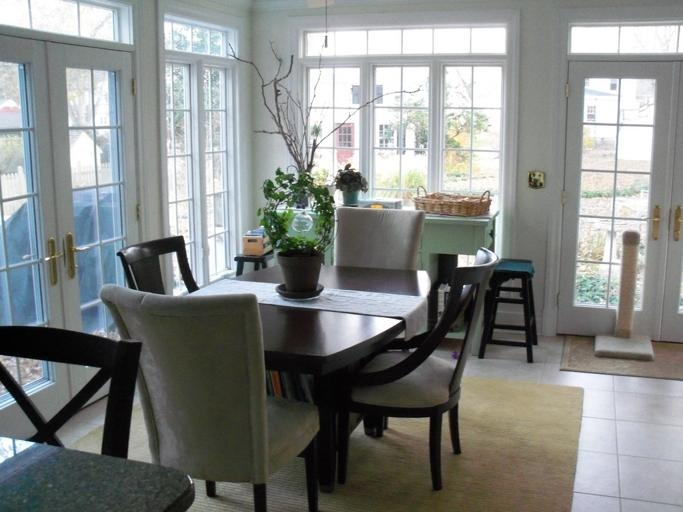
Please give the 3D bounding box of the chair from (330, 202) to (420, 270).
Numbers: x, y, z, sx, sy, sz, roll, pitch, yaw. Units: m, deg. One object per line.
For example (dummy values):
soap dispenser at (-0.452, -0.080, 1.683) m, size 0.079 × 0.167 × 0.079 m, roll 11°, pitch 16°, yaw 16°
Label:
chair at (0.297, -0.129, 3.973) m, size 0.437 × 0.637 × 0.516 m, roll 7°, pitch 5°, yaw 11°

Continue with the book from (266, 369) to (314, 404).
book at (-0.261, 0.650, 2.711) m, size 0.208 × 0.199 × 0.059 m, roll 2°, pitch 0°, yaw 19°

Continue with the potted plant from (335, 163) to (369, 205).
potted plant at (0.078, -0.631, 4.778) m, size 0.340 × 0.355 × 0.324 m, roll 4°, pitch 7°, yaw 39°

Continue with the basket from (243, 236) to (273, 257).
basket at (-0.773, -0.088, 4.967) m, size 0.183 × 0.164 × 0.267 m, roll 0°, pitch 1°, yaw 15°

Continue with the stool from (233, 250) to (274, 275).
stool at (-0.815, 0.010, 4.966) m, size 0.284 × 0.309 × 0.285 m, roll 0°, pitch 7°, yaw -1°

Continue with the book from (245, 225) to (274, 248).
book at (-0.747, -0.193, 4.764) m, size 0.299 × 0.138 × 0.415 m, roll 1°, pitch 4°, yaw 7°

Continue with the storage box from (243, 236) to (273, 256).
storage box at (-0.766, -0.087, 4.930) m, size 0.174 × 0.144 × 0.296 m, roll 0°, pitch 3°, yaw 8°

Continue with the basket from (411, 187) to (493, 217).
basket at (0.937, -0.451, 4.666) m, size 0.585 × 0.221 × 0.387 m, roll 4°, pitch 12°, yaw 28°

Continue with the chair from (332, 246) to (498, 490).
chair at (0.392, 0.505, 3.413) m, size 1.141 × 1.707 × 0.983 m, roll 3°, pitch 5°, yaw 20°
